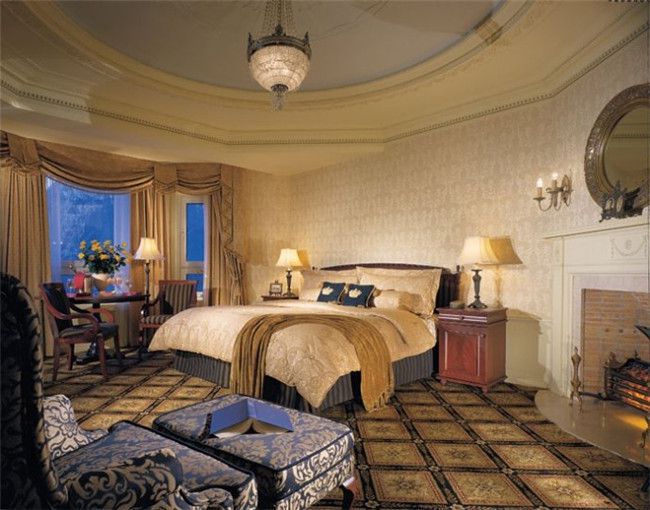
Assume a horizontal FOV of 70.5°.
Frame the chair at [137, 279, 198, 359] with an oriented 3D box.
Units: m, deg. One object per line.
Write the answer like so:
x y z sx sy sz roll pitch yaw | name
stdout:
-2.230 0.862 6.535 0.715 1.001 0.707 1 0 -5 | chair

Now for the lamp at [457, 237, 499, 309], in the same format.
1.795 0.183 5.494 0.401 0.848 0.651 2 6 19 | lamp

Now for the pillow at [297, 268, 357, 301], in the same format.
-0.039 0.437 6.699 0.687 0.487 0.199 -6 -33 40 | pillow

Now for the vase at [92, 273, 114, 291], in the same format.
-3.163 0.361 6.502 0.263 0.209 0.261 2 1 25 | vase

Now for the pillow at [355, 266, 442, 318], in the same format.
1.048 0.338 5.874 1.172 0.475 0.550 1 8 38 | pillow

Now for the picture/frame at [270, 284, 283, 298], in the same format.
-0.815 0.594 7.688 0.296 0.303 0.167 -2 -8 8 | picture/frame

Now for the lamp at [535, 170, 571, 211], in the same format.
2.515 -0.714 5.049 0.286 0.442 0.441 5 -7 -3 | lamp

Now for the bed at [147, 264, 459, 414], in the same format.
0.235 0.857 4.897 2.110 0.918 2.091 3 -4 -43 | bed

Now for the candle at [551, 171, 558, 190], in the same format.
2.503 -0.825 5.009 0.066 0.189 0.213 3 6 25 | candle

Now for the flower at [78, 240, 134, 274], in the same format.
-3.195 0.016 6.733 0.648 0.483 0.820 -2 6 -23 | flower

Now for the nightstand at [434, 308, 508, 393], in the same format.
1.686 1.074 5.299 0.631 0.829 0.672 5 -5 -44 | nightstand

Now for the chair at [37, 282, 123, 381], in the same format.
-2.955 0.891 5.579 0.812 1.070 0.781 -1 -1 -17 | chair
